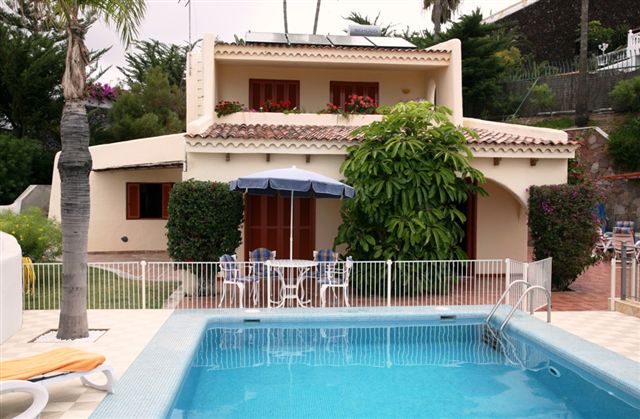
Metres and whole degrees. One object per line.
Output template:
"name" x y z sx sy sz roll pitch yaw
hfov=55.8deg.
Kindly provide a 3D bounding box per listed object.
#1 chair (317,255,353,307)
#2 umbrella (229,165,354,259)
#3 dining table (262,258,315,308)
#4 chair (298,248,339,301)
"chair" 0.467 2.208 18.997 1.207 1.891 1.416 1 -3 1
"umbrella" -1.040 0.157 19.354 3.514 3.048 3.362 -1 2 -25
"dining table" -1.005 2.144 18.947 1.414 1.158 1.493 0 4 -1
"chair" 0.133 2.087 19.383 0.900 1.426 1.021 2 44 -2
